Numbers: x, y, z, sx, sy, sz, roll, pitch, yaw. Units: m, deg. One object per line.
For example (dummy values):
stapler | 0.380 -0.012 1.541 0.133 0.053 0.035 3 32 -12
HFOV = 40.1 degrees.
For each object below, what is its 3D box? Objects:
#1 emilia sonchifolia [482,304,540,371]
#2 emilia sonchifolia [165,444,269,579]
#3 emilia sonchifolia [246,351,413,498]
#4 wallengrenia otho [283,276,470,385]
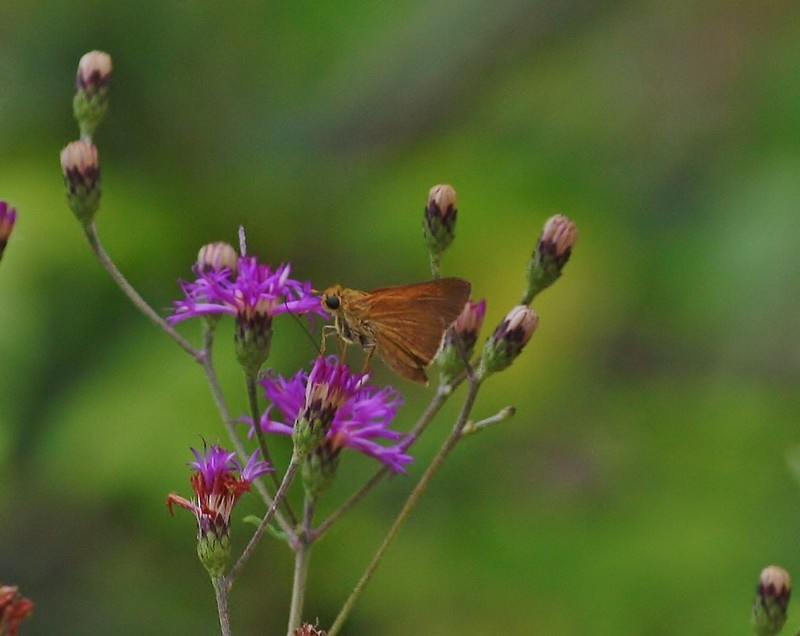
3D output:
emilia sonchifolia | 0.242 0.053 2.473 0.168 0.077 0.089 -41 -25 8
emilia sonchifolia | -0.403 0.404 2.377 0.195 0.177 0.323 2 -78 -21
emilia sonchifolia | -0.203 0.191 2.552 0.314 0.365 0.220 21 -84 -31
wallengrenia otho | -0.021 0.013 2.559 0.276 0.251 0.242 21 -94 3
